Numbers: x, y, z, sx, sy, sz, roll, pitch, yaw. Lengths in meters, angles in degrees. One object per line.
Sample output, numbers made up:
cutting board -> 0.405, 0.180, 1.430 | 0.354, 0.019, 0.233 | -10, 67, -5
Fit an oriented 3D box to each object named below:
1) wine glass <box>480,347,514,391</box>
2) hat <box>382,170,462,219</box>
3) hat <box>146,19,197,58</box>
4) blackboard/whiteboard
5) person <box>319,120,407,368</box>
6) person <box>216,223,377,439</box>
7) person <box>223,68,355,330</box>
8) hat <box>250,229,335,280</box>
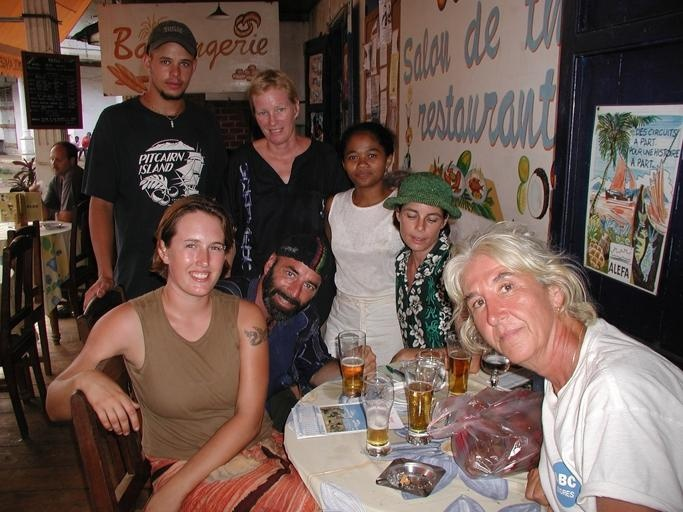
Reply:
wine glass -> 0.641, 0.501, 1.939 | 0.087, 0.085, 0.131 | 22, 36, 15
hat -> 0.447, -0.323, 2.547 | 0.296, 0.144, 0.314 | 11, -8, 17
hat -> -0.975, -1.280, 2.761 | 0.269, 0.206, 0.373 | -4, 10, -19
blackboard/whiteboard -> -4.446, -2.554, 7.253 | 0.779, 1.144, 0.309 | -7, 12, -33
person -> 0.172, 0.178, 3.046 | 0.626, 2.109, 0.489 | 5, 25, 13
person -> -0.255, 0.401, 2.220 | 0.760, 0.920, 0.698 | 17, 8, 3
person -> -0.332, -0.071, 3.060 | 0.854, 2.107, 0.657 | -3, 15, -10
hat -> -0.188, 0.040, 2.363 | 0.258, 0.189, 0.262 | 22, -8, -13
